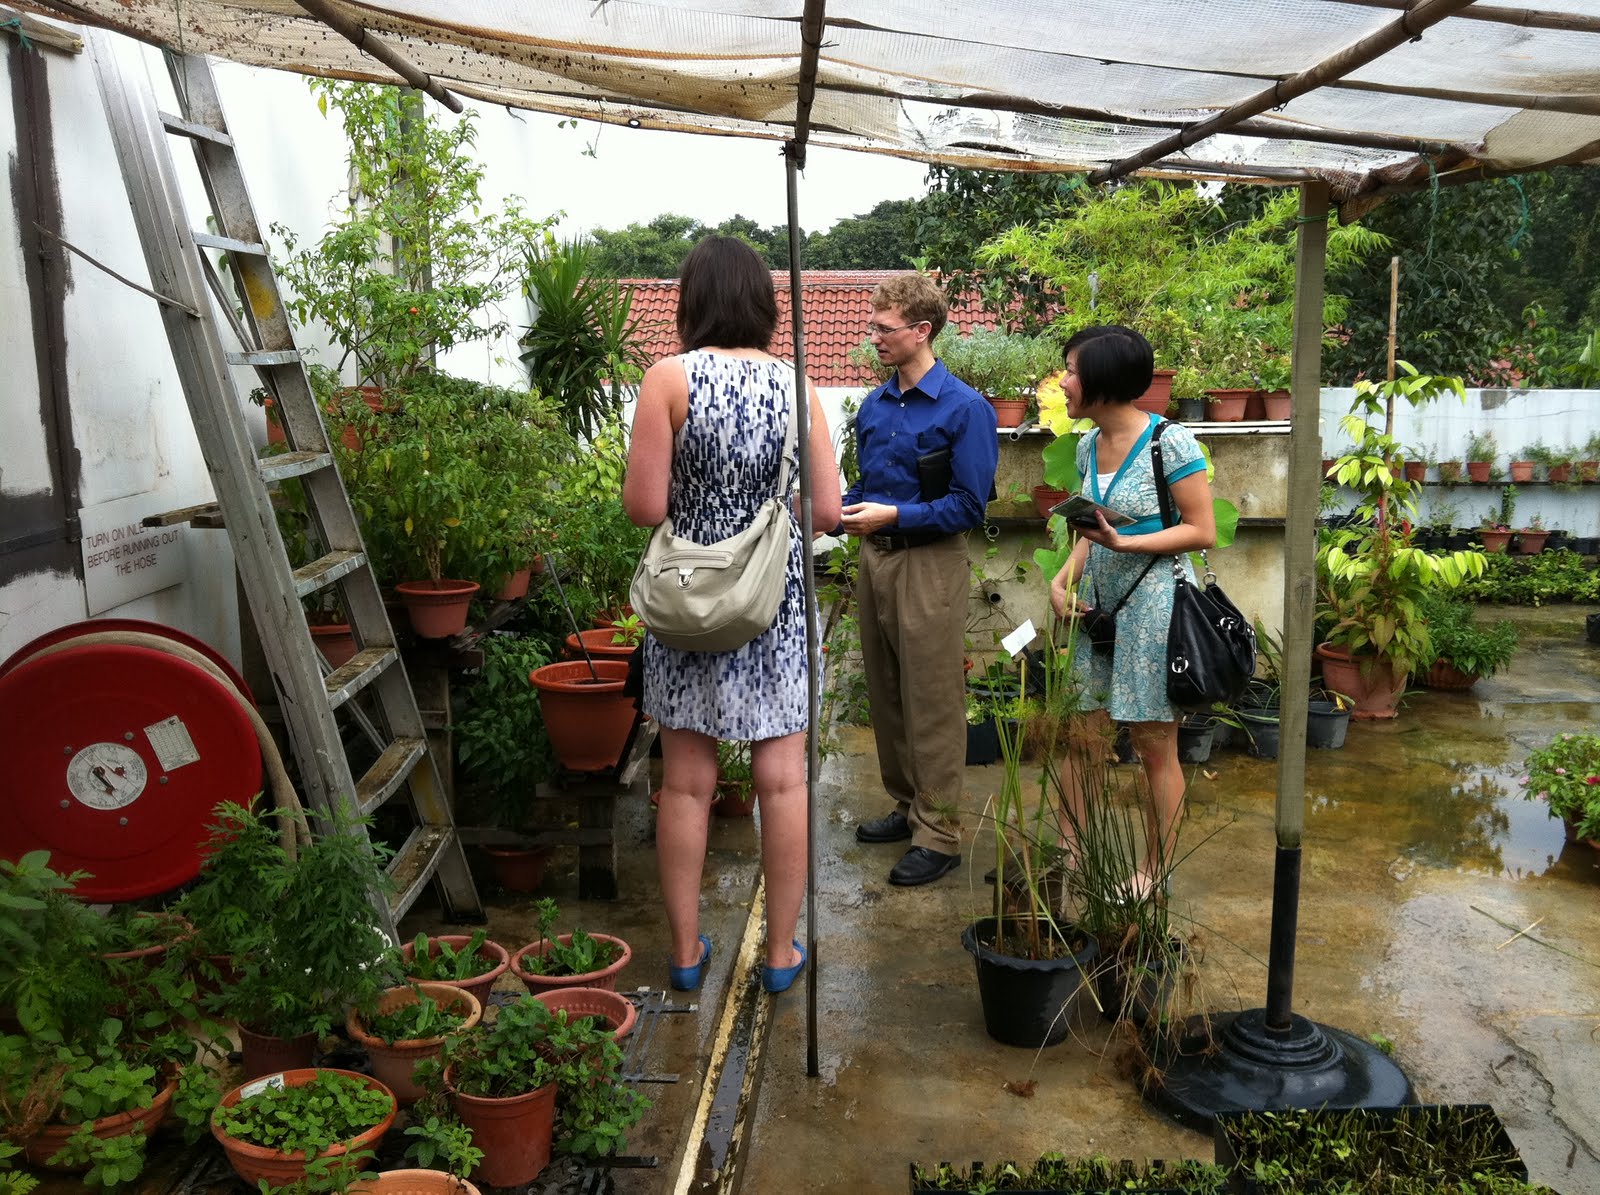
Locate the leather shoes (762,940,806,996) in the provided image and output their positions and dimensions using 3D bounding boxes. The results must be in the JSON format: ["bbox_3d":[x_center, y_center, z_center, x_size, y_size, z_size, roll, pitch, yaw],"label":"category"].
[{"bbox_3d":[-0.054,1.203,3.957,0.083,0.085,0.199,0,12,8],"label":"leather shoes"}]

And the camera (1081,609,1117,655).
[{"bbox_3d":[1.029,0.114,4.159,0.091,0.145,0.125,-10,-37,27],"label":"camera"}]

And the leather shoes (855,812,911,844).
[{"bbox_3d":[0.360,0.992,5.237,0.267,0.124,0.105,1,1,-17],"label":"leather shoes"}]

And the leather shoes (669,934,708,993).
[{"bbox_3d":[-0.356,1.168,3.886,0.062,0.071,0.185,0,7,3],"label":"leather shoes"}]

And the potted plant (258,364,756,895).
[{"bbox_3d":[-1.097,-0.059,5.385,1.510,2.661,2.414,0,9,4],"label":"potted plant"}]

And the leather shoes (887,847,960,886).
[{"bbox_3d":[0.478,1.056,4.827,0.261,0.127,0.115,2,-3,-34],"label":"leather shoes"}]

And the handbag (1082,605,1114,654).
[{"bbox_3d":[1.027,0.112,4.160,0.086,0.124,0.130,3,6,23],"label":"handbag"}]

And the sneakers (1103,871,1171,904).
[{"bbox_3d":[1.017,0.880,3.699,0.125,0.068,0.170,-7,-6,33],"label":"sneakers"}]

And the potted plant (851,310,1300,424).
[{"bbox_3d":[1.846,-1.344,7.310,1.616,0.643,1.399,3,12,12],"label":"potted plant"}]

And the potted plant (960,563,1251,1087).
[{"bbox_3d":[0.995,0.614,3.904,0.758,1.409,1.034,7,13,23],"label":"potted plant"}]

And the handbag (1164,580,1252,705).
[{"bbox_3d":[1.365,0.126,4.077,0.225,0.487,0.417,-9,-3,43],"label":"handbag"}]

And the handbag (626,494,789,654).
[{"bbox_3d":[-0.263,-0.054,3.565,0.476,0.449,0.208,1,12,-4],"label":"handbag"}]
